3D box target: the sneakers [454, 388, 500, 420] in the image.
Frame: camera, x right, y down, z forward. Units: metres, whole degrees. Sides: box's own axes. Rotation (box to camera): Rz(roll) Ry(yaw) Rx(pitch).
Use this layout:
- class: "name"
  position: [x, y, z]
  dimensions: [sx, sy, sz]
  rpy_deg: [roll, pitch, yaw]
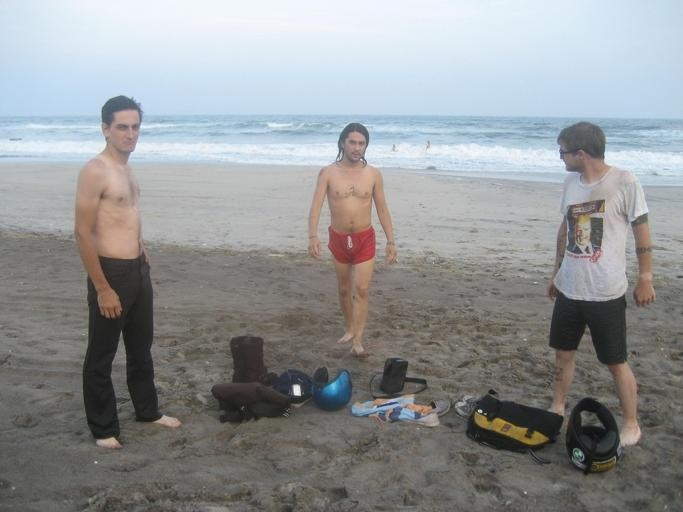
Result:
- class: "sneakers"
  position: [1.219, 1.305, 5.279]
  dimensions: [0.379, 0.132, 0.235]
  rpy_deg: [-11, 20, -27]

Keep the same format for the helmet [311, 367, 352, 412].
- class: "helmet"
  position: [-0.084, 1.226, 5.251]
  dimensions: [0.297, 0.262, 0.364]
  rpy_deg: [-11, -11, 4]

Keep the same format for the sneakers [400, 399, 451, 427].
- class: "sneakers"
  position: [0.758, 1.391, 5.156]
  dimensions: [0.336, 0.111, 0.220]
  rpy_deg: [-3, 14, -20]

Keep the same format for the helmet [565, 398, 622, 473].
- class: "helmet"
  position: [2.036, 1.451, 4.683]
  dimensions: [0.410, 0.462, 0.418]
  rpy_deg: [7, 14, 27]

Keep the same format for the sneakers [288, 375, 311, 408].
- class: "sneakers"
  position: [-0.385, 1.226, 5.361]
  dimensions: [0.124, 0.148, 0.354]
  rpy_deg: [4, 35, 0]

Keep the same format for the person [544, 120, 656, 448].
- class: "person"
  position: [2.147, 0.222, 4.845]
  dimensions: [0.916, 2.617, 0.543]
  rpy_deg: [8, 15, 31]

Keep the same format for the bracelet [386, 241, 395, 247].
- class: "bracelet"
  position: [0.529, -0.136, 6.374]
  dimensions: [0.073, 0.047, 0.075]
  rpy_deg: [2, -2, 10]

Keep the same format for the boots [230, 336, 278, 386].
- class: "boots"
  position: [-0.880, 0.996, 5.578]
  dimensions: [0.553, 0.517, 0.302]
  rpy_deg: [-2, 7, -11]

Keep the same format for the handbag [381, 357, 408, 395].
- class: "handbag"
  position: [0.499, 1.137, 5.507]
  dimensions: [0.253, 0.320, 0.098]
  rpy_deg: [3, 10, -21]

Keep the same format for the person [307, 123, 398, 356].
- class: "person"
  position: [0.110, -0.213, 6.352]
  dimensions: [0.843, 2.409, 0.739]
  rpy_deg: [8, 15, 29]

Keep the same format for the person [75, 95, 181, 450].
- class: "person"
  position: [-1.793, 0.363, 4.705]
  dimensions: [0.700, 2.313, 0.467]
  rpy_deg: [-10, 16, -36]
